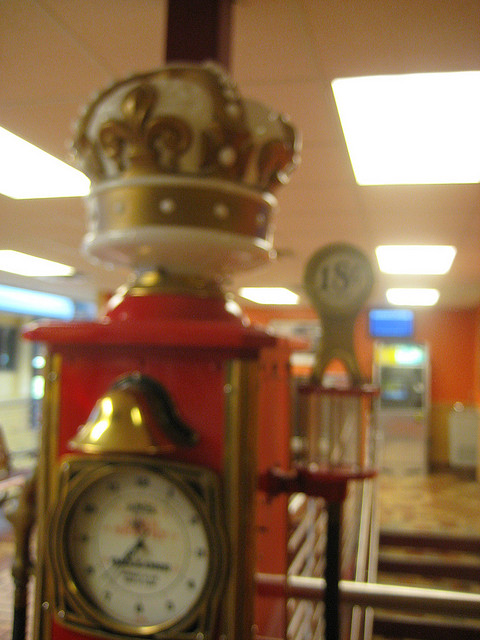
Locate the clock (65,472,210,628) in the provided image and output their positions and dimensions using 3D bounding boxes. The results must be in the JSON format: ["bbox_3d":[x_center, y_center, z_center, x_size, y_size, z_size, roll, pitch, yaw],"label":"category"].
[{"bbox_3d":[-0.154,0.337,0.843,0.218,0.222,0.048,0,-4,23],"label":"clock"}]
